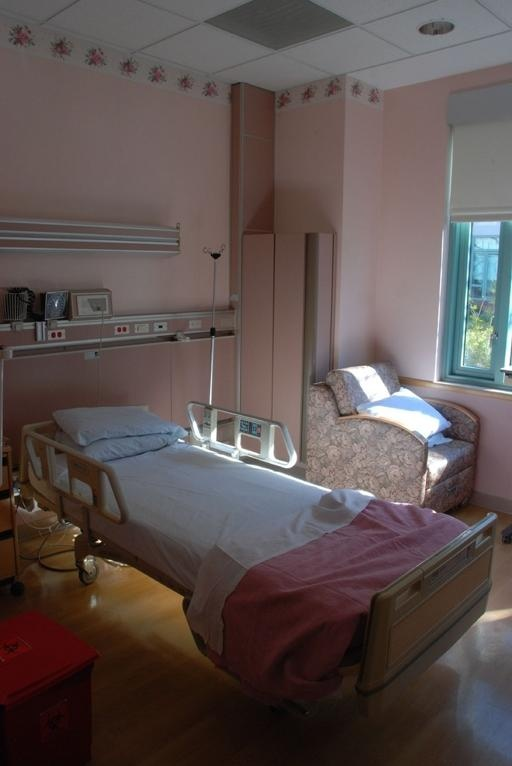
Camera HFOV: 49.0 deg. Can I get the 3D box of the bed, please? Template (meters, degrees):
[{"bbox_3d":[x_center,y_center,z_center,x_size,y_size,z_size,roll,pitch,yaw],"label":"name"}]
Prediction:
[{"bbox_3d":[-0.119,0.522,2.118,1.572,0.602,0.984,15,19,41],"label":"bed"}]

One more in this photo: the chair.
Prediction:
[{"bbox_3d":[0.912,0.362,3.714,0.850,0.891,0.814,10,12,38],"label":"chair"}]
